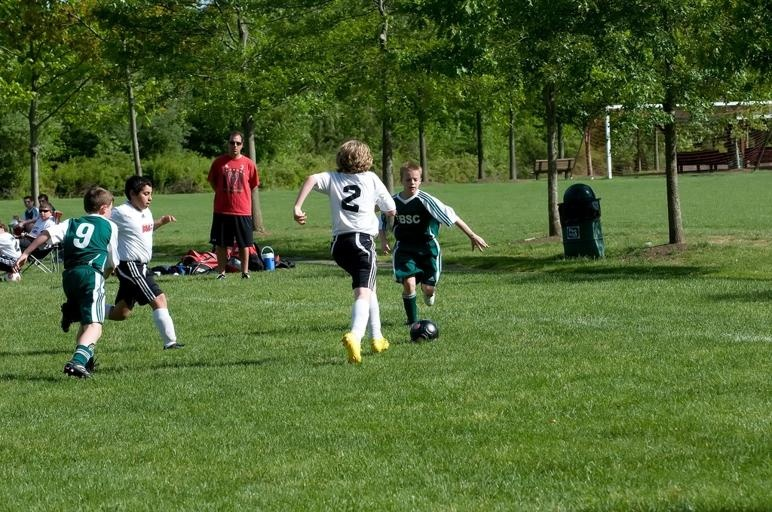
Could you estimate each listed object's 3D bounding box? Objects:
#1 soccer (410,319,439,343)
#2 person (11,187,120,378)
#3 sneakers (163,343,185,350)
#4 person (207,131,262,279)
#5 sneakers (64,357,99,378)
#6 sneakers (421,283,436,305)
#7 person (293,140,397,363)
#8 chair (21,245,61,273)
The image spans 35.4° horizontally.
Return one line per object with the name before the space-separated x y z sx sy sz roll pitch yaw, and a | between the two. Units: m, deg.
soccer | 0.626 1.205 19.753 0.373 0.344 0.362 -7 36 -23
person | -4.807 0.405 19.011 1.399 2.934 0.965 -5 4 -27
sneakers | -3.456 1.474 19.796 0.354 0.142 0.126 -6 6 5
person | -3.145 -1.049 25.156 1.040 3.013 1.052 -3 3 -8
sneakers | -4.724 1.740 18.721 0.577 0.267 0.212 0 10 -27
sneakers | 0.735 0.652 20.583 0.161 0.465 0.198 -2 48 4
person | -0.510 -0.091 19.050 1.352 3.459 1.089 -3 3 3
chair | -8.075 0.106 28.565 1.052 0.618 0.801 0 -8 -18
